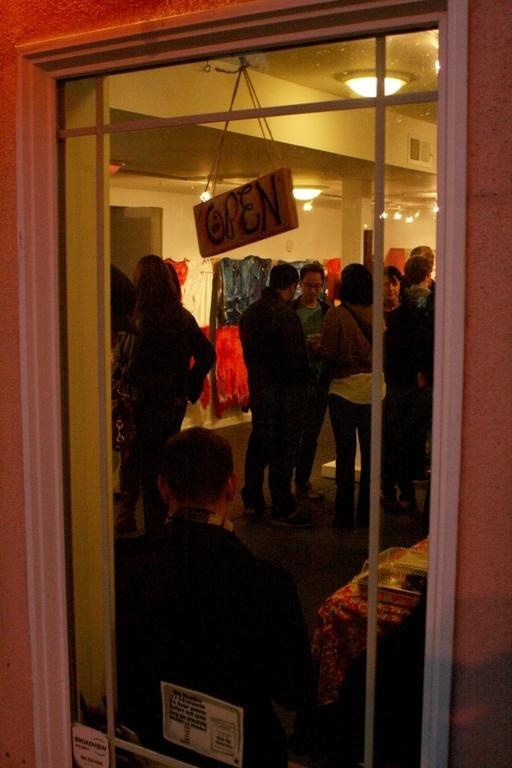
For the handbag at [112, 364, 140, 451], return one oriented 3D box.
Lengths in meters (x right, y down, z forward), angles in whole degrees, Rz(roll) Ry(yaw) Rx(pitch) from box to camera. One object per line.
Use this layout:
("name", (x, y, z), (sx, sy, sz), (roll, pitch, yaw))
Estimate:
("handbag", (-0.376, 0.055, 1.972), (0.071, 0.274, 0.194), (-4, 11, -11))
